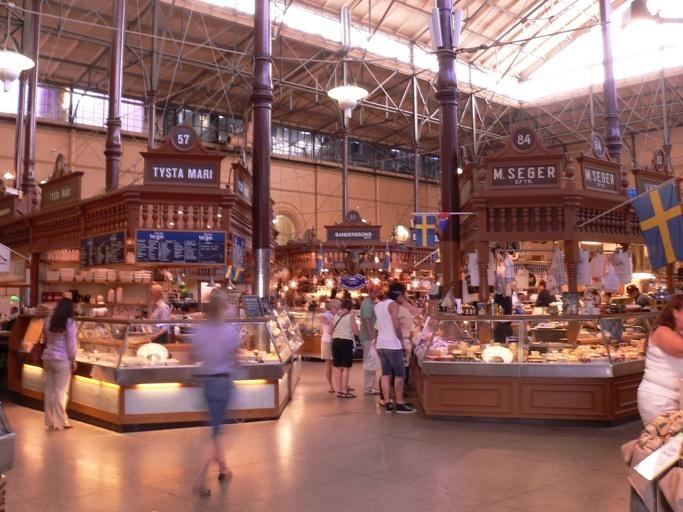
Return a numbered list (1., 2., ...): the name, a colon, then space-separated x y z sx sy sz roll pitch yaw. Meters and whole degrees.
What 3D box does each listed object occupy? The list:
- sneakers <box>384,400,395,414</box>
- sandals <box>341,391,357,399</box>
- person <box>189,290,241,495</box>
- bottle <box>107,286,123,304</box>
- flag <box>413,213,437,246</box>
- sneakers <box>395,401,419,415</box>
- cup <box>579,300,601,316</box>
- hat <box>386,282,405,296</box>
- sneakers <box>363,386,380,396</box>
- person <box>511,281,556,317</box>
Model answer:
1. sneakers: 0.644 2.019 8.199 0.123 0.139 0.323 -2 -10 10
2. sandals: 0.112 2.112 9.295 0.153 0.051 0.119 5 -7 -36
3. person: -1.108 1.165 5.443 0.410 1.718 0.322 -1 0 -30
4. bottle: -4.316 0.746 11.799 0.279 0.330 0.167 4 -12 -16
5. flag: 1.418 -0.458 10.291 0.536 0.675 0.128 0 8 -1
6. sneakers: 0.874 2.001 8.113 0.292 0.137 0.127 -1 -4 1
7. cup: 3.308 0.700 8.158 0.263 0.263 0.264 1 -3 0
8. hat: 0.757 0.466 8.315 0.146 0.184 0.194 9 12 3
9. sneakers: 0.498 2.132 9.634 0.280 0.120 0.096 -1 -1 6
10. person: 3.599 0.829 11.603 0.898 0.603 0.930 -7 -9 25
